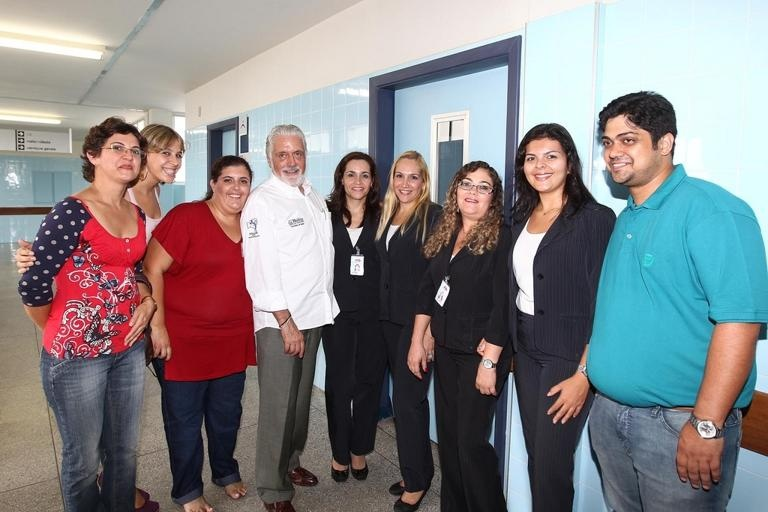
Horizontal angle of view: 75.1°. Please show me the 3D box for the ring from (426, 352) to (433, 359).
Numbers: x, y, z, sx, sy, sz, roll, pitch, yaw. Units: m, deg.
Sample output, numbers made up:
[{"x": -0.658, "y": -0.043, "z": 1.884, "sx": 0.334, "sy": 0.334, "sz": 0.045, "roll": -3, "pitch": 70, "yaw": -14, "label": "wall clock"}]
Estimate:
[{"x": 0.273, "y": 0.604, "z": 3.020, "sx": 0.036, "sy": 0.049, "sz": 0.027, "roll": -4, "pitch": -5, "yaw": -22, "label": "ring"}]

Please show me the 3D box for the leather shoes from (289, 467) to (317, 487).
[{"x": -0.526, "y": 1.445, "z": 3.276, "sx": 0.174, "sy": 0.072, "sz": 0.089, "roll": -1, "pitch": 4, "yaw": 41, "label": "leather shoes"}]

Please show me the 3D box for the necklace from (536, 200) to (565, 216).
[{"x": 0.874, "y": -0.252, "z": 2.603, "sx": 0.082, "sy": 0.043, "sz": 0.110, "roll": 0, "pitch": -8, "yaw": 21, "label": "necklace"}]

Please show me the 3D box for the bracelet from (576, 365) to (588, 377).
[{"x": 0.963, "y": 0.564, "z": 2.417, "sx": 0.017, "sy": 0.048, "sz": 0.041, "roll": 6, "pitch": -8, "yaw": -40, "label": "bracelet"}]

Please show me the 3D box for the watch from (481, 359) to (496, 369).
[{"x": 0.552, "y": 0.574, "z": 2.643, "sx": 0.052, "sy": 0.052, "sz": 0.020, "roll": 6, "pitch": 8, "yaw": 34, "label": "watch"}]
